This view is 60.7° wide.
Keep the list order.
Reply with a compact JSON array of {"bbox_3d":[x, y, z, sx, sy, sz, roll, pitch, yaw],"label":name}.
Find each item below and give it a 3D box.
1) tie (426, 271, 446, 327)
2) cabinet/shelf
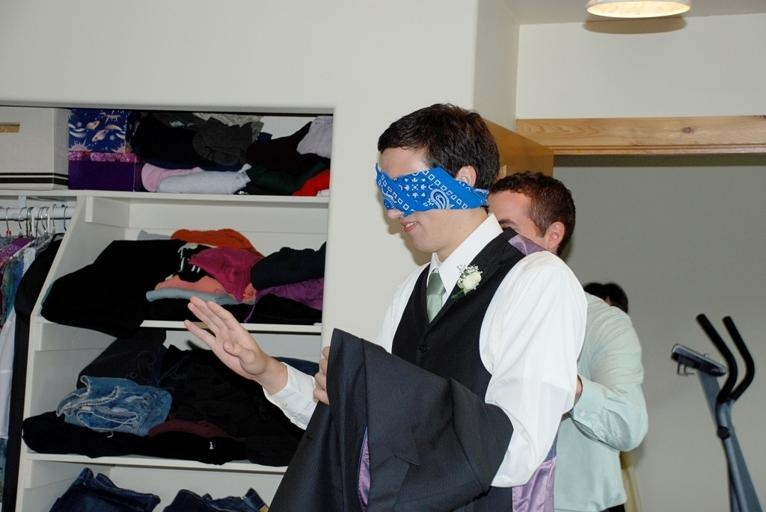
[{"bbox_3d":[0.180,0.133,2.230,0.065,0.183,0.020,16,-43,-9],"label":"tie"},{"bbox_3d":[-0.989,0.575,4.103,2.689,2.630,1.907,0,4,3],"label":"cabinet/shelf"}]
